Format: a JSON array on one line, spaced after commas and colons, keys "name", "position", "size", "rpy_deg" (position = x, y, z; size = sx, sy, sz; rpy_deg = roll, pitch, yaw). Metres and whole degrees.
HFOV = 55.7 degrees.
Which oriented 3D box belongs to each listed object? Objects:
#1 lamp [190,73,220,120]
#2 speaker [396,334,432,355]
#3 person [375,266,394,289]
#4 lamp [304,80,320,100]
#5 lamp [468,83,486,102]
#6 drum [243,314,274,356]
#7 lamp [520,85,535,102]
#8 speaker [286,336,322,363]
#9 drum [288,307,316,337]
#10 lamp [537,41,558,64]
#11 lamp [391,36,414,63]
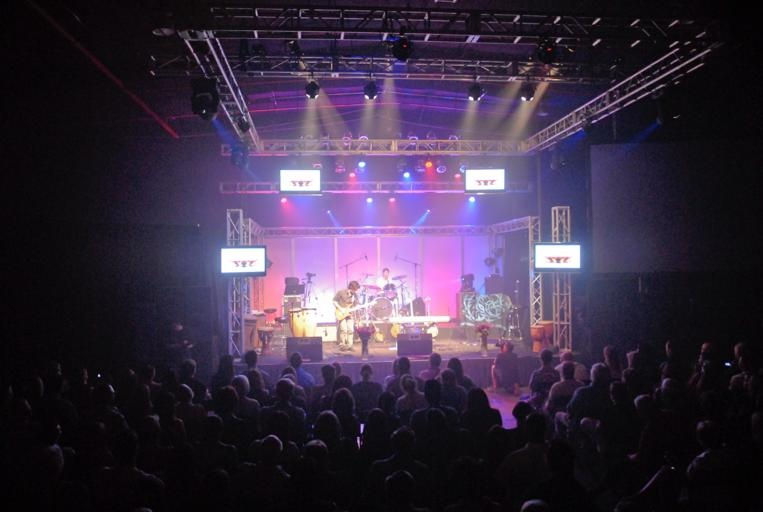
[{"name": "lamp", "position": [-3.360, -3.017, 13.678], "size": [0.515, 0.781, 0.288], "rpy_deg": [5, -5, -16]}, {"name": "speaker", "position": [0.753, 2.010, 16.137], "size": [0.553, 0.333, 0.546], "rpy_deg": [1, -10, -9]}, {"name": "person", "position": [0.087, 0.699, 21.498], "size": [0.654, 0.843, 0.545], "rpy_deg": [2, -15, -8]}, {"name": "lamp", "position": [-1.459, -3.566, 15.255], "size": [0.250, 0.399, 0.372], "rpy_deg": [3, -5, -4]}, {"name": "lamp", "position": [2.062, -3.630, 15.720], "size": [0.275, 0.424, 0.502], "rpy_deg": [2, -5, 9]}, {"name": "drum", "position": [-3.299, 2.045, 18.967], "size": [0.985, 1.184, 0.943], "rpy_deg": [-1, -5, 0]}, {"name": "lamp", "position": [3.152, -3.511, 15.478], "size": [0.255, 0.332, 0.657], "rpy_deg": [2, -5, 16]}, {"name": "speaker", "position": [-1.681, 2.065, 15.925], "size": [0.930, 0.494, 0.611], "rpy_deg": [2, -1, -2]}, {"name": "drum", "position": [-2.154, 1.725, 18.692], "size": [0.733, 0.819, 0.733], "rpy_deg": [0, -5, 6]}, {"name": "lamp", "position": [3.114, -3.839, 13.559], "size": [0.332, 0.347, 0.212], "rpy_deg": [2, -5, 9]}, {"name": "lamp", "position": [0.424, -3.815, 13.459], "size": [0.403, 0.440, 0.453], "rpy_deg": [5, 8, 42]}]
